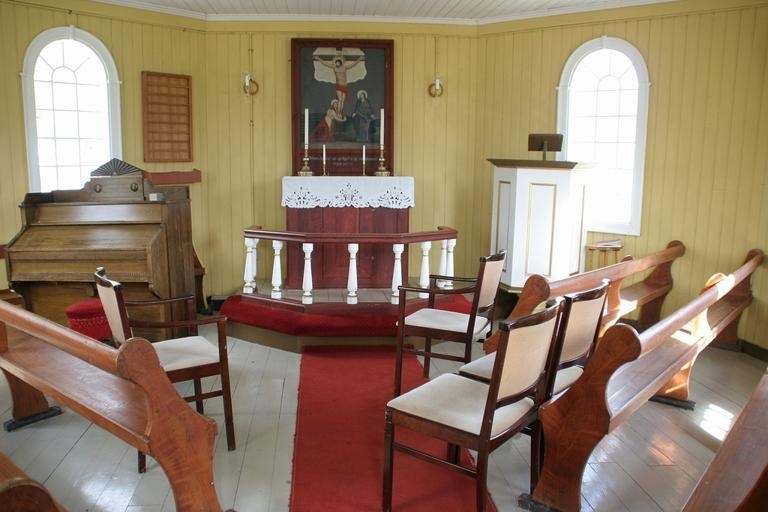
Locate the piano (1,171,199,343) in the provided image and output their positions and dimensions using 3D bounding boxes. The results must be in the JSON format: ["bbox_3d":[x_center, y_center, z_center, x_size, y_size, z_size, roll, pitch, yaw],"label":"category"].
[{"bbox_3d":[-2.694,0.031,5.180,1.782,2.096,1.134,-1,2,-1],"label":"piano"}]

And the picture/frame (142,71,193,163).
[{"bbox_3d":[-2.734,-1.748,6.879,0.589,1.071,0.220,-4,13,-22],"label":"picture/frame"}]

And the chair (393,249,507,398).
[{"bbox_3d":[0.634,0.472,5.218,1.175,1.707,1.190,3,4,17],"label":"chair"}]

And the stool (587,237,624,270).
[{"bbox_3d":[2.548,-0.029,6.460,0.362,0.394,0.380,0,16,-1],"label":"stool"}]

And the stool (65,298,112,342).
[{"bbox_3d":[-2.823,0.610,5.445,0.480,0.416,0.479,-1,1,0],"label":"stool"}]
